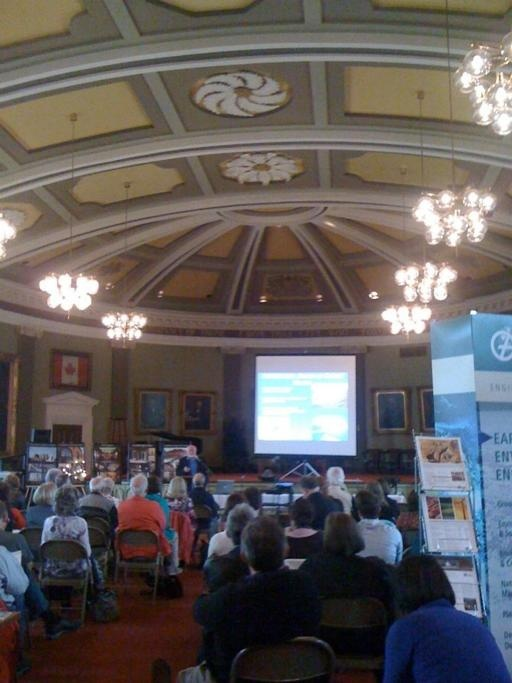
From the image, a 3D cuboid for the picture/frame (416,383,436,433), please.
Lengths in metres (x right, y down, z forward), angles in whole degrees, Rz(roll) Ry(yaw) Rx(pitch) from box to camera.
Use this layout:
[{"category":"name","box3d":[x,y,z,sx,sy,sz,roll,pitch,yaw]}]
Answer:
[{"category":"picture/frame","box3d":[4.765,1.924,16.073,0.409,1.283,0.329,-7,-12,23]}]

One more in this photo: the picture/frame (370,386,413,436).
[{"category":"picture/frame","box3d":[4.002,2.075,16.741,1.526,1.560,0.143,-4,-17,29]}]

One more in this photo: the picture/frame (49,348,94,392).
[{"category":"picture/frame","box3d":[-4.974,0.761,15.207,0.170,0.964,1.190,-9,-10,37]}]
